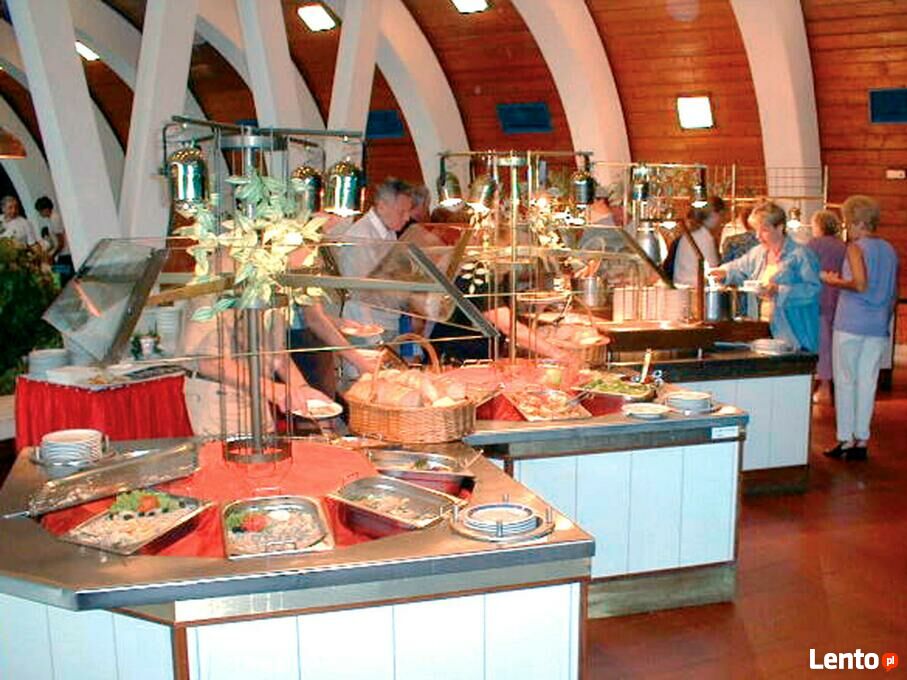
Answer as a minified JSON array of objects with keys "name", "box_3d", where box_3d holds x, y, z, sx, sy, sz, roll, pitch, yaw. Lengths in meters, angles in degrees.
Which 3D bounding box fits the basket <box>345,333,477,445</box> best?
[{"name":"basket","box_3d":[-0.206,0.215,2.884,0.361,0.297,0.539,-5,5,-43]}]

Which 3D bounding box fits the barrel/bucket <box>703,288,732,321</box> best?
[{"name":"barrel/bucket","box_3d":[1.739,-0.227,4.860,0.217,0.182,0.238,0,1,0]}]

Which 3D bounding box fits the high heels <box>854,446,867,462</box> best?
[{"name":"high heels","box_3d":[2.993,0.846,5.429,0.110,0.091,0.094,-2,5,-2]}]

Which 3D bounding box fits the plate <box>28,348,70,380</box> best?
[{"name":"plate","box_3d":[-2.197,0.133,4.020,0.218,0.118,0.190,1,1,12]}]

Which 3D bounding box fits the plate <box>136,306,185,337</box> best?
[{"name":"plate","box_3d":[-0.811,-0.051,2.061,0.102,0.049,0.093,-5,2,-25]}]

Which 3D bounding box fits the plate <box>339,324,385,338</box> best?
[{"name":"plate","box_3d":[-0.345,-0.032,2.821,0.123,0.024,0.065,3,-9,-27]}]

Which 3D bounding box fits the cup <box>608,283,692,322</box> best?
[{"name":"cup","box_3d":[1.191,-0.211,4.459,0.327,0.150,0.295,-2,2,-30]}]

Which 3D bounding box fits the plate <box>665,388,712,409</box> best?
[{"name":"plate","box_3d":[1.032,0.263,3.263,0.138,0.037,0.110,1,5,27]}]

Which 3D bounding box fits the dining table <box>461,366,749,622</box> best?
[{"name":"dining table","box_3d":[0.705,0.621,3.580,1.968,1.020,0.930,-2,5,-20]}]

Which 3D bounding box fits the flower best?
[{"name":"flower","box_3d":[-0.668,-0.319,2.501,0.499,0.582,0.936,-4,11,-19]}]

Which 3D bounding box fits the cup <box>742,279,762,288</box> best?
[{"name":"cup","box_3d":[2.069,-0.379,5.130,0.105,0.047,0.090,2,6,7]}]

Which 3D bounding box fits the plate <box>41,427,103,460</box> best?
[{"name":"plate","box_3d":[-1.267,0.362,2.539,0.147,0.038,0.132,2,5,19]}]

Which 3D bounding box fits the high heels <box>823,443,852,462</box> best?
[{"name":"high heels","box_3d":[2.852,0.840,5.478,0.078,0.074,0.209,-4,6,-30]}]

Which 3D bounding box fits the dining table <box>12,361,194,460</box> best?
[{"name":"dining table","box_3d":[-1.759,0.351,3.798,0.782,0.279,0.668,0,6,-8]}]

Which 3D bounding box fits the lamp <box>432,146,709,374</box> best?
[{"name":"lamp","box_3d":[0.645,-0.513,4.574,1.898,0.871,2.627,-1,8,-2]}]
